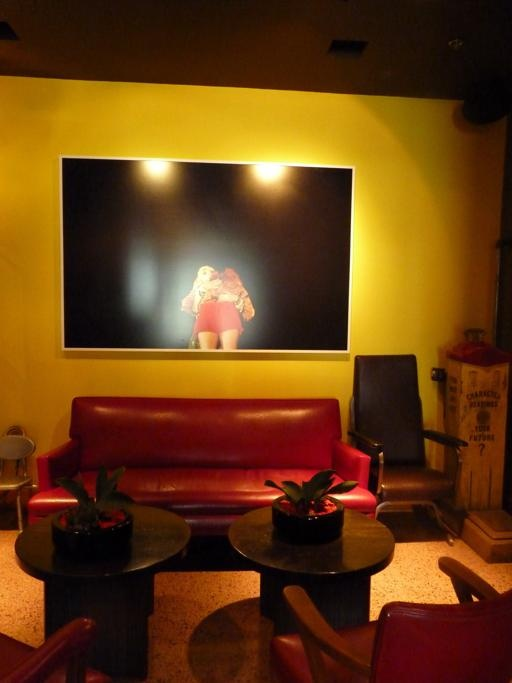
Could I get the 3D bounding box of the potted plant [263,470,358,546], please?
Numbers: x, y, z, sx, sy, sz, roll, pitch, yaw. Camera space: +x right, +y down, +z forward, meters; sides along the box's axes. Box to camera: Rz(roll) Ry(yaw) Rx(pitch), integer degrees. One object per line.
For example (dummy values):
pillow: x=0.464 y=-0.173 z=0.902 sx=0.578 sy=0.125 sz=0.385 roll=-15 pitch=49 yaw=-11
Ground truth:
potted plant: x=0.220 y=0.624 z=2.322 sx=0.293 sy=0.211 sz=0.294 roll=0 pitch=-2 yaw=8

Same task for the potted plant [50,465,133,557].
potted plant: x=-0.587 y=0.613 z=2.101 sx=0.281 sy=0.290 sz=0.227 roll=-1 pitch=6 yaw=-16

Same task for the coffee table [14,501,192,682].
coffee table: x=-0.628 y=0.915 z=2.292 sx=0.680 sy=0.506 sz=0.679 roll=-1 pitch=8 yaw=-25
